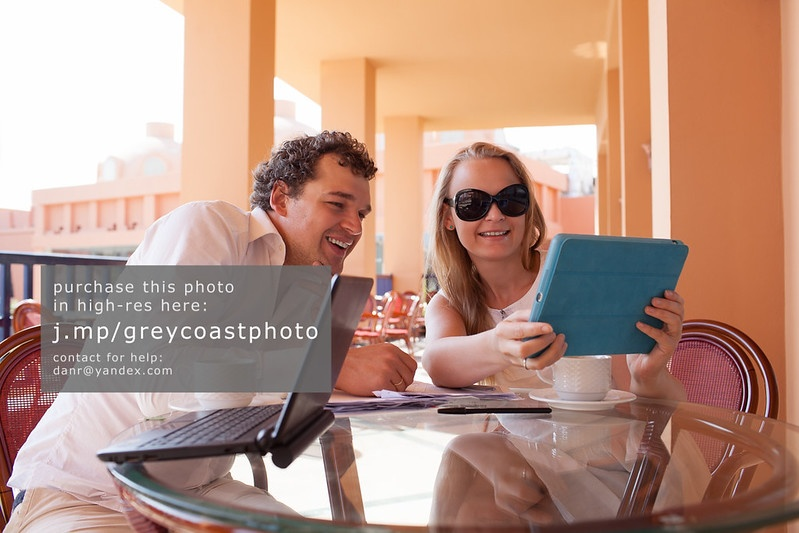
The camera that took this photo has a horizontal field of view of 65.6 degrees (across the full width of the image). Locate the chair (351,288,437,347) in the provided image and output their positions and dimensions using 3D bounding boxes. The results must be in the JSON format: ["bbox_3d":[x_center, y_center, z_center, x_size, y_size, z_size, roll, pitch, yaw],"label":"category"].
[{"bbox_3d":[-0.108,0.714,9.129,0.964,1.434,1.051,0,-8,18],"label":"chair"}]

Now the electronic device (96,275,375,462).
[{"bbox_3d":[-0.392,0.194,1.537,0.481,0.332,0.508,3,-6,7],"label":"electronic device"}]

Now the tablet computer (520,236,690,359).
[{"bbox_3d":[0.619,0.102,1.848,0.490,0.430,0.064,9,17,-19],"label":"tablet computer"}]
